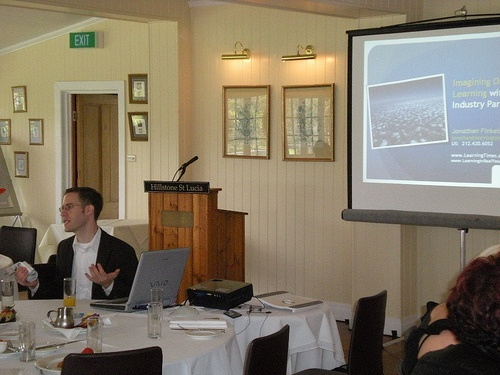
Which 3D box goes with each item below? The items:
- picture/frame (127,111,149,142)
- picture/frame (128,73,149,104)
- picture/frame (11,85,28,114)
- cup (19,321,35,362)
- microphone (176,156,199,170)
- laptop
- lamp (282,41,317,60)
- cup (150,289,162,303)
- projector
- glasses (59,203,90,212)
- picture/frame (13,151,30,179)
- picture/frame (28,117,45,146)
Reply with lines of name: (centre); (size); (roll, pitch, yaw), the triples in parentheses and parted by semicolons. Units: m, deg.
picture/frame: (-1.633, -0.903, 6.204); (0.333, 0.451, 0.043); (2, 15, 6)
picture/frame: (-1.666, -1.489, 6.298); (0.368, 0.457, 0.031); (-12, 19, -41)
picture/frame: (-4.226, -1.628, 7.664); (0.520, 0.632, 0.061); (1, 0, 36)
cup: (-1.103, 0.755, 2.059); (0.073, 0.196, 0.110); (-4, 4, -31)
microphone: (-0.805, -0.323, 5.302); (0.300, 0.085, 0.091); (-34, 11, 18)
laptop: (-0.734, 0.631, 2.899); (0.590, 0.402, 0.592); (3, -6, -31)
lamp: (0.622, -1.695, 5.212); (0.430, 0.204, 0.183); (-2, 3, 12)
cup: (-0.552, 0.648, 2.485); (0.076, 0.080, 0.078); (0, -8, 0)
projector: (-0.234, 0.756, 2.957); (0.237, 0.104, 0.267); (1, 3, 28)
glasses: (-1.489, 0.169, 3.447); (0.301, 0.082, 0.127); (-1, 4, 24)
picture/frame: (-4.224, -0.425, 7.734); (0.499, 0.525, 0.039); (1, 0, 40)
picture/frame: (-3.813, -1.002, 7.464); (0.493, 0.592, 0.046); (2, 0, 34)
